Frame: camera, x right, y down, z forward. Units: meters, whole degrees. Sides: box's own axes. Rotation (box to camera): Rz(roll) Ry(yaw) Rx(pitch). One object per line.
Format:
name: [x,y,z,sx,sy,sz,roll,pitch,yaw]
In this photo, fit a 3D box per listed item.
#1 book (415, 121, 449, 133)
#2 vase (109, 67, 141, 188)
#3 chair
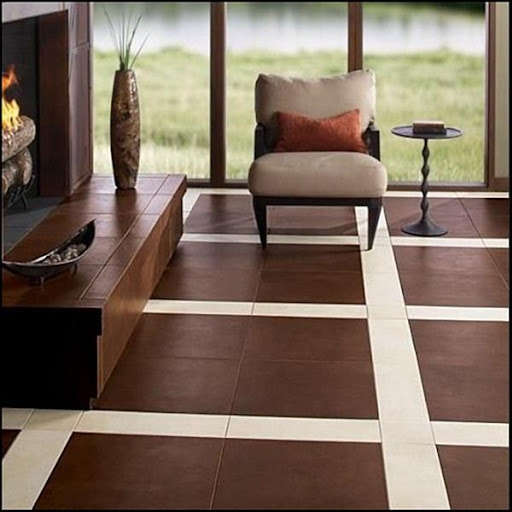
book: [1.227,-0.898,3.608,0.206,0.080,0.280,13,24,38]
vase: [-0.799,-0.778,3.182,0.188,0.711,0.194,-6,16,-15]
chair: [0.423,-0.697,3.583,0.882,1.106,0.927,0,17,5]
